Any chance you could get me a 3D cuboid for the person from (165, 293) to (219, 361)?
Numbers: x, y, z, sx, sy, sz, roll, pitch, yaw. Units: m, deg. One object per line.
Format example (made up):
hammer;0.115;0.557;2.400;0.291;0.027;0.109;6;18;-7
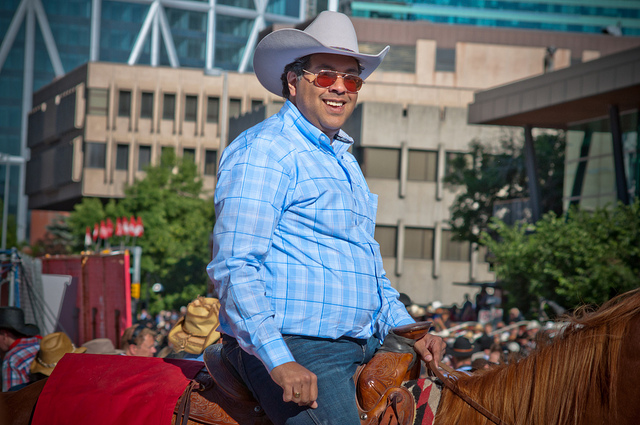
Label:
person;-2.171;2.174;28.204;0.833;1.435;0.491;7;-9;30
